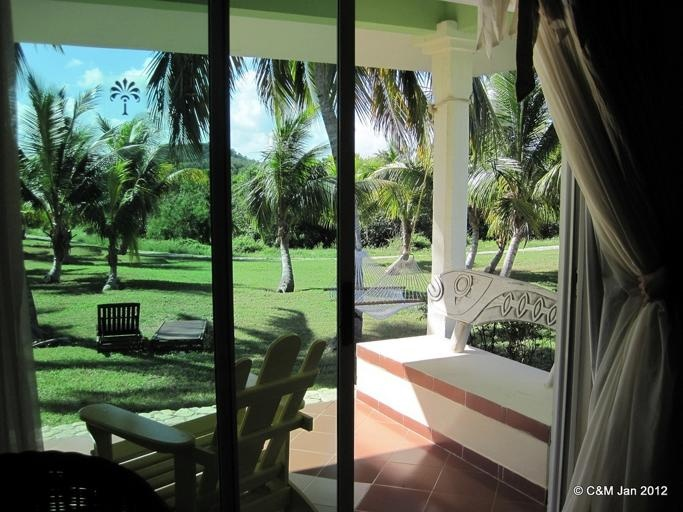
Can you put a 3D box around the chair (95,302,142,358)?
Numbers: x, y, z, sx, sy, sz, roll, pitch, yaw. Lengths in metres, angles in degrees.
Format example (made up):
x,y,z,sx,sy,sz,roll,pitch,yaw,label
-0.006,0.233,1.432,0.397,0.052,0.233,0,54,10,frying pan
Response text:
x,y,z,sx,sy,sz,roll,pitch,yaw,label
-0.859,0.250,2.034,0.158,0.202,0.272,0,13,-25,chair

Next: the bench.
x,y,z,sx,sy,sz,roll,pitch,yaw,label
0.894,0.635,3.562,0.696,1.169,1.730,-9,11,-30,bench
